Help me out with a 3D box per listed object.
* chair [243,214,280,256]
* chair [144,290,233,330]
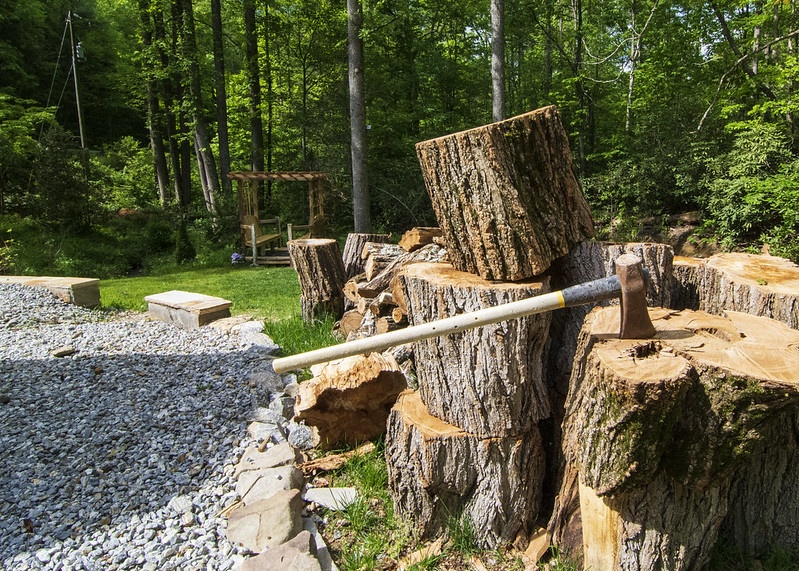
[{"bbox_3d":[-3.479,-1.214,15.011,0.421,0.811,1.159,0,21,6],"label":"chair"},{"bbox_3d":[-2.973,0.362,8.490,1.153,0.316,0.585,6,13,33],"label":"chair"}]
